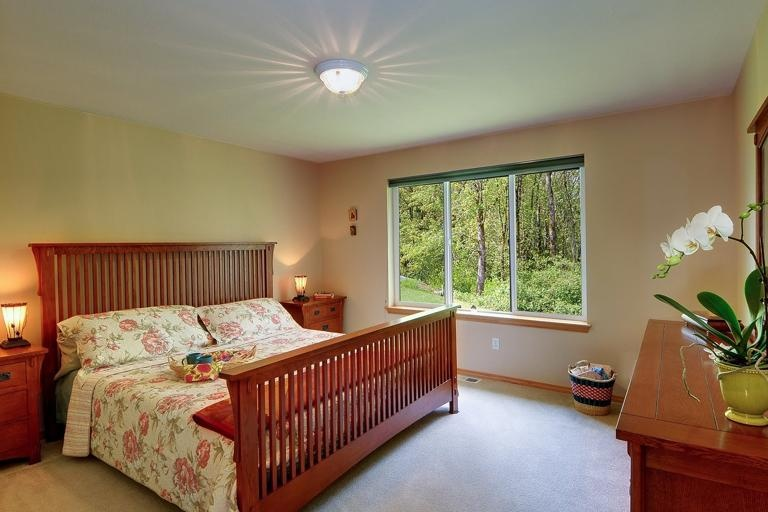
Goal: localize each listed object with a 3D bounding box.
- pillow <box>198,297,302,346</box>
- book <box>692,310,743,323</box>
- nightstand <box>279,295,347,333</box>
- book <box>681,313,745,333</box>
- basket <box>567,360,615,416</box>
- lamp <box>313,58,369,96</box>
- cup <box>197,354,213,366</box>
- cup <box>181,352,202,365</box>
[{"bbox_3d":[-1.388,0.664,5.048,0.570,0.136,0.502,1,17,-38],"label":"pillow"},{"bbox_3d":[2.158,0.392,3.191,0.218,0.051,0.212,0,1,-27],"label":"book"},{"bbox_3d":[-0.849,0.856,6.190,0.415,0.633,0.688,4,7,39],"label":"nightstand"},{"bbox_3d":[2.122,0.438,3.204,0.256,0.060,0.255,1,-1,-21],"label":"book"},{"bbox_3d":[1.981,1.245,4.663,0.380,0.400,0.378,0,7,3],"label":"basket"},{"bbox_3d":[-0.331,-1.370,3.795,0.412,0.184,0.252,-3,2,-4],"label":"lamp"},{"bbox_3d":[-1.447,0.834,4.008,0.112,0.055,0.096,-3,2,5],"label":"cup"},{"bbox_3d":[-1.535,0.834,4.013,0.096,0.106,0.155,4,7,7],"label":"cup"}]
